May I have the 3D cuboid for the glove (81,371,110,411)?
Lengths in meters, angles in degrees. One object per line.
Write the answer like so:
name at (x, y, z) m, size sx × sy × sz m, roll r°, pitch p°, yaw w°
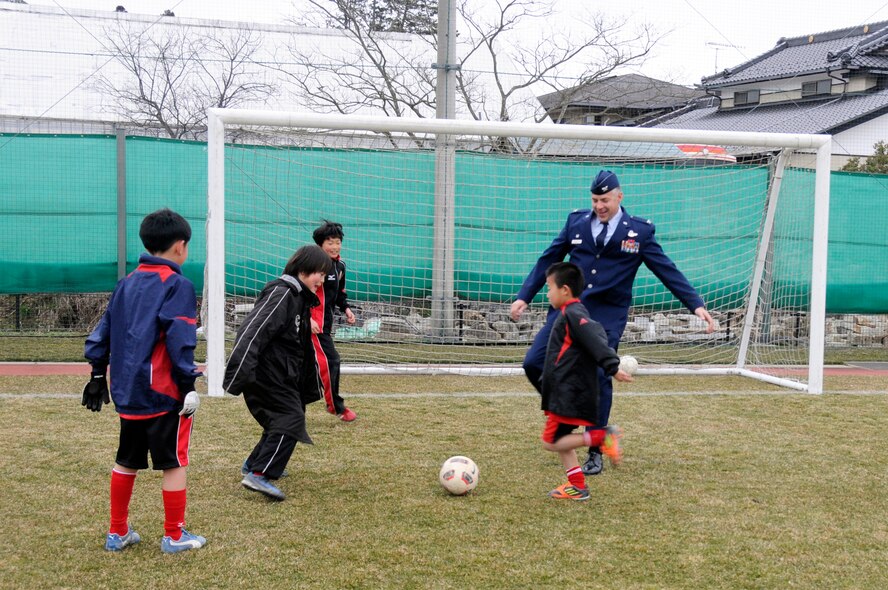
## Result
glove at (-2.445, 0.667, 5.927) m, size 0.218 × 0.265 × 0.072 m, roll 4°, pitch 3°, yaw -31°

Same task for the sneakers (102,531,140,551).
sneakers at (-2.210, 1.689, 5.841) m, size 0.087 × 0.107 × 0.244 m, roll 5°, pitch 6°, yaw 32°

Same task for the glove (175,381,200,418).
glove at (-1.713, 0.719, 5.754) m, size 0.088 × 0.216 × 0.154 m, roll 4°, pitch -32°, yaw -2°

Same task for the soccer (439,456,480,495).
soccer at (0.143, 1.397, 6.584) m, size 0.276 × 0.269 × 0.278 m, roll -9°, pitch 20°, yaw 31°

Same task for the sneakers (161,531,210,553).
sneakers at (-1.786, 1.709, 5.856) m, size 0.299 × 0.131 × 0.124 m, roll 0°, pitch -3°, yaw -18°

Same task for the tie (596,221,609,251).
tie at (1.344, -0.506, 7.200) m, size 0.093 × 0.218 × 0.125 m, roll 4°, pitch 15°, yaw 11°

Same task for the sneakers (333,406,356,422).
sneakers at (-0.942, 1.140, 8.068) m, size 0.212 × 0.089 × 0.099 m, roll 9°, pitch 21°, yaw 13°

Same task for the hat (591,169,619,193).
hat at (1.347, -0.957, 7.131) m, size 0.159 × 0.129 × 0.228 m, roll 0°, pitch 17°, yaw 23°

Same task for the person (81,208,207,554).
person at (-2.009, 0.590, 5.790) m, size 0.663 × 2.246 × 0.718 m, roll -3°, pitch 15°, yaw -12°

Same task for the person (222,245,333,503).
person at (-1.255, 0.568, 6.590) m, size 0.624 × 1.815 × 0.918 m, roll 2°, pitch 15°, yaw 6°

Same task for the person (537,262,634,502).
person at (1.053, 0.670, 6.559) m, size 0.581 × 1.758 × 0.578 m, roll 2°, pitch 15°, yaw 6°

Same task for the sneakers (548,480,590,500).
sneakers at (0.970, 1.523, 6.593) m, size 0.317 × 0.129 × 0.122 m, roll 3°, pitch -9°, yaw 3°
